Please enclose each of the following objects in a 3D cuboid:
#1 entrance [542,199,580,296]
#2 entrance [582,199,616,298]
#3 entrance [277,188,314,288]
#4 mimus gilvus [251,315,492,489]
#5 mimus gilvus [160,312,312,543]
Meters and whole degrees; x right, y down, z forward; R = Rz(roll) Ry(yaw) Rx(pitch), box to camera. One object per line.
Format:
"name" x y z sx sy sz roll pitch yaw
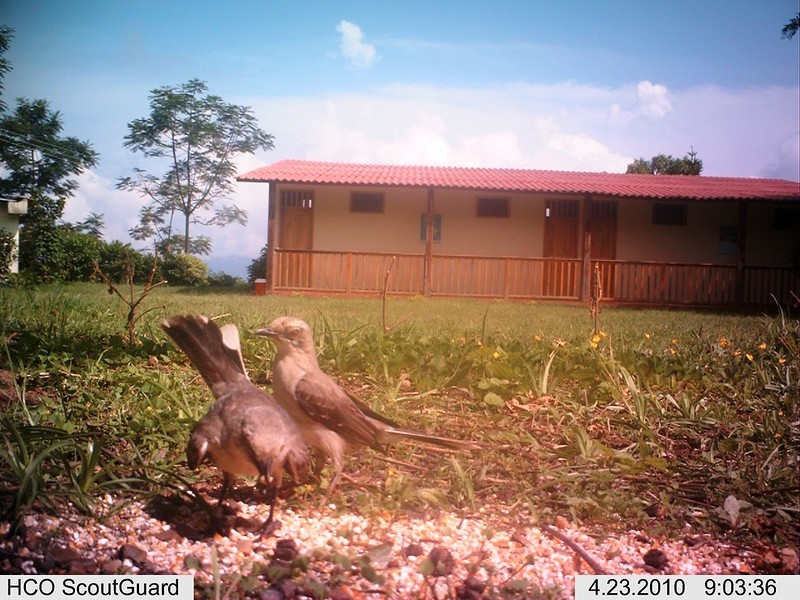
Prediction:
"entrance" 3.840 -1.129 14.477 0.823 2.581 0.133 2 -15 10
"entrance" 4.850 -1.135 14.797 0.255 2.613 0.921 1 3 -19
"entrance" -2.447 -1.409 14.271 0.879 2.730 0.274 1 -25 -8
"mimus gilvus" -0.187 0.612 3.265 1.238 0.854 0.352 11 -19 -21
"mimus gilvus" -0.791 0.408 3.028 0.486 1.287 0.682 5 -27 -46
